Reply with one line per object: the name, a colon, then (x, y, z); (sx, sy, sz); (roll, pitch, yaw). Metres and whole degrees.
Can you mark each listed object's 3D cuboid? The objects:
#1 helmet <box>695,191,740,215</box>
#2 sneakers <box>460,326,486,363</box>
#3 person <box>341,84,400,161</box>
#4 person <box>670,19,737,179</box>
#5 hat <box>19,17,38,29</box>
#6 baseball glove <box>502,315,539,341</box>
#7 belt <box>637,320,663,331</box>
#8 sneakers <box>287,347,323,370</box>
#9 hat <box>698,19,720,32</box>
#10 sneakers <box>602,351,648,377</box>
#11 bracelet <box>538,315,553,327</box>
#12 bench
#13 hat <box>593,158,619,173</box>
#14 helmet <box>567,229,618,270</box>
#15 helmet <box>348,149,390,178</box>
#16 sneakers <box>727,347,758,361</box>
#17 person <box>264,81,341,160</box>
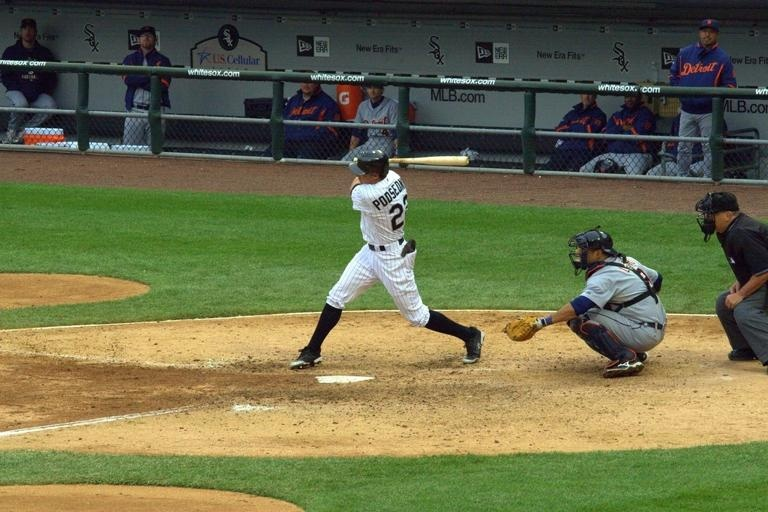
helmet: (3.482, -0.551, 15.753); (0.389, 0.116, 0.242); (0, 10, 10)
sneakers: (0.963, 0.954, 16.323); (0.217, 0.389, 0.167); (4, 12, -26)
person: (-0.175, -2.010, 23.269); (0.798, 1.150, 0.964); (4, 4, -2)
person: (4.508, -2.216, 21.614); (0.590, 2.206, 0.994); (1, 5, -36)
hat: (-5.940, -3.861, 25.343); (0.250, 0.105, 0.311); (2, 3, -12)
baseball glove: (1.462, 0.776, 15.870); (0.348, 0.234, 0.142); (-30, -30, -10)
belt: (2.804, 0.712, 15.813); (0.185, 0.041, 0.124); (7, 3, -9)
sneakers: (-0.818, 1.086, 16.116); (0.488, 0.207, 0.150); (-4, 6, -13)
hat: (4.656, -3.264, 21.506); (0.277, 0.142, 0.368); (7, -4, 25)
sneakers: (2.575, 1.139, 15.869); (0.546, 0.208, 0.181); (-18, 5, 5)
bracelet: (1.693, 0.665, 15.730); (0.071, 0.075, 0.185); (-25, 15, -27)
bench: (0.094, -1.743, 23.093); (9.694, 0.627, 0.669); (4, 36, 4)
hat: (3.320, -1.334, 22.480); (0.392, 0.206, 0.085); (5, 4, 29)
helmet: (2.190, -0.075, 15.957); (0.618, 0.387, 0.449); (2, 5, 9)
helmet: (-0.146, -0.947, 15.900); (0.446, 0.183, 0.257); (6, 44, 0)
sneakers: (3.822, 1.046, 16.111); (0.314, 0.111, 0.110); (-1, 6, 4)
person: (-1.126, -2.081, 23.527); (0.995, 1.164, 0.792); (4, 4, 11)
